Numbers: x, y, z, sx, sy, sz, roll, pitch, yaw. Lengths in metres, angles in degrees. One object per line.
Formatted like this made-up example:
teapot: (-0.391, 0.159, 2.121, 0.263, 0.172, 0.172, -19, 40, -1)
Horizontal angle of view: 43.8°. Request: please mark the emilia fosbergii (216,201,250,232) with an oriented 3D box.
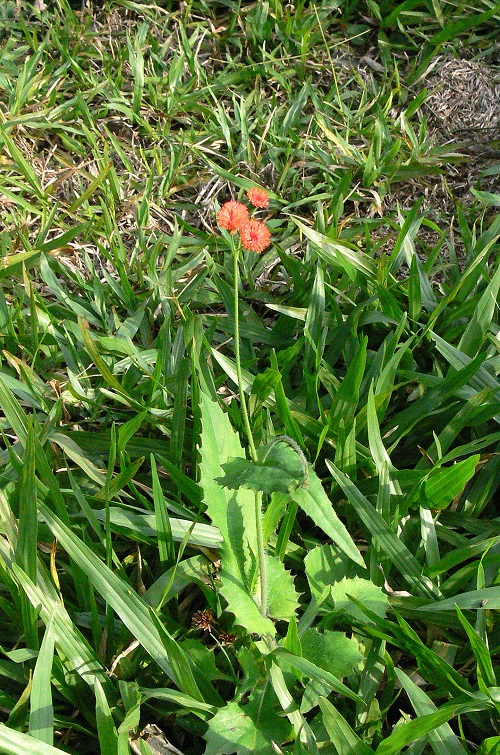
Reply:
emilia fosbergii: (-0.019, -0.173, 0.668, 0.036, 0.035, 0.035, 9, 13, 17)
